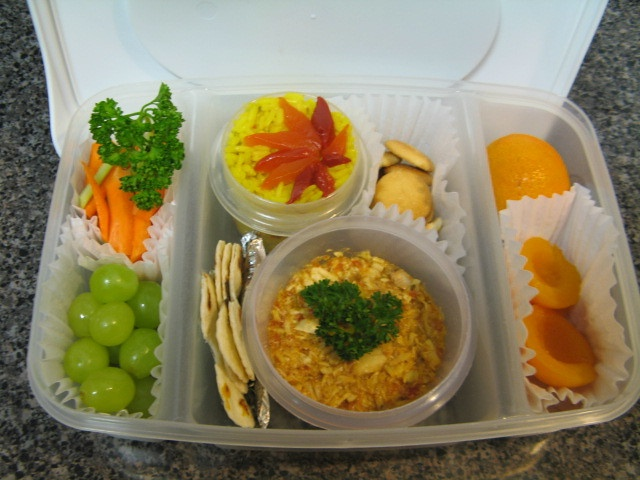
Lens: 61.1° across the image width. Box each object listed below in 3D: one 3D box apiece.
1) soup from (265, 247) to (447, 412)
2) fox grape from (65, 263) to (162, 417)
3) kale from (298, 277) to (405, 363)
[{"bbox_3d":[0.097,0.261,1.466,0.378,0.136,0.372,-3,69,1],"label":"soup"},{"bbox_3d":[-0.580,0.280,1.533,0.258,0.196,0.411,-7,78,1],"label":"fox grape"},{"bbox_3d":[0.094,0.191,1.432,0.236,0.042,0.221,-25,79,-4],"label":"kale"}]
